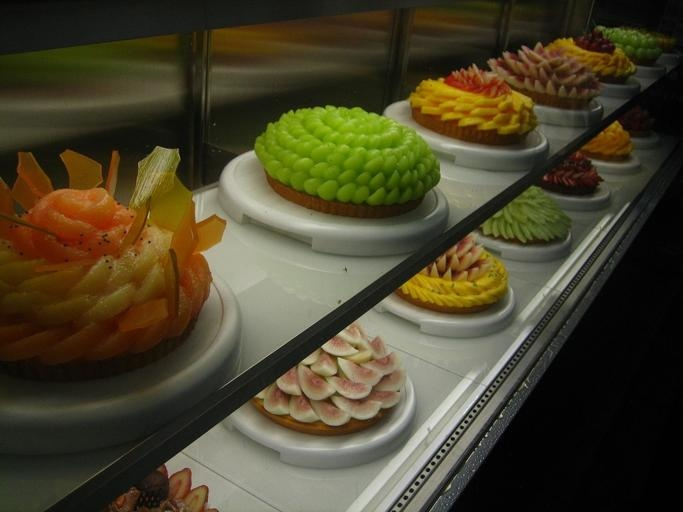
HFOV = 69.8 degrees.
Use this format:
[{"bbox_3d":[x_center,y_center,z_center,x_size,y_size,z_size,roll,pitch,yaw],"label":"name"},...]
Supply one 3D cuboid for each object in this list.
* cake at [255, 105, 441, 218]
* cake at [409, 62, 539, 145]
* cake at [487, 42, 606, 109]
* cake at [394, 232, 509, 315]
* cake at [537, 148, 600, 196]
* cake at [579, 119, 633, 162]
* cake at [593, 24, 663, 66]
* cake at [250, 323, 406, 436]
[{"bbox_3d":[0.019,-0.149,0.760,0.211,0.082,0.192,0,41,-21],"label":"cake"},{"bbox_3d":[0.302,-0.317,1.115,0.199,0.098,0.206,10,35,-1],"label":"cake"},{"bbox_3d":[0.596,-0.580,1.519,0.210,0.111,0.222,1,17,-20],"label":"cake"},{"bbox_3d":[0.361,0.052,1.542,0.329,0.134,0.381,-17,10,-19],"label":"cake"},{"bbox_3d":[1.018,-0.368,2.172,0.246,0.154,0.262,4,19,16],"label":"cake"},{"bbox_3d":[1.349,-0.591,2.481,0.213,0.145,0.209,-24,37,-22],"label":"cake"},{"bbox_3d":[1.350,-0.972,2.370,0.252,0.126,0.316,21,23,-3],"label":"cake"},{"bbox_3d":[0.033,0.263,1.232,0.298,0.104,0.319,17,31,-18],"label":"cake"}]
